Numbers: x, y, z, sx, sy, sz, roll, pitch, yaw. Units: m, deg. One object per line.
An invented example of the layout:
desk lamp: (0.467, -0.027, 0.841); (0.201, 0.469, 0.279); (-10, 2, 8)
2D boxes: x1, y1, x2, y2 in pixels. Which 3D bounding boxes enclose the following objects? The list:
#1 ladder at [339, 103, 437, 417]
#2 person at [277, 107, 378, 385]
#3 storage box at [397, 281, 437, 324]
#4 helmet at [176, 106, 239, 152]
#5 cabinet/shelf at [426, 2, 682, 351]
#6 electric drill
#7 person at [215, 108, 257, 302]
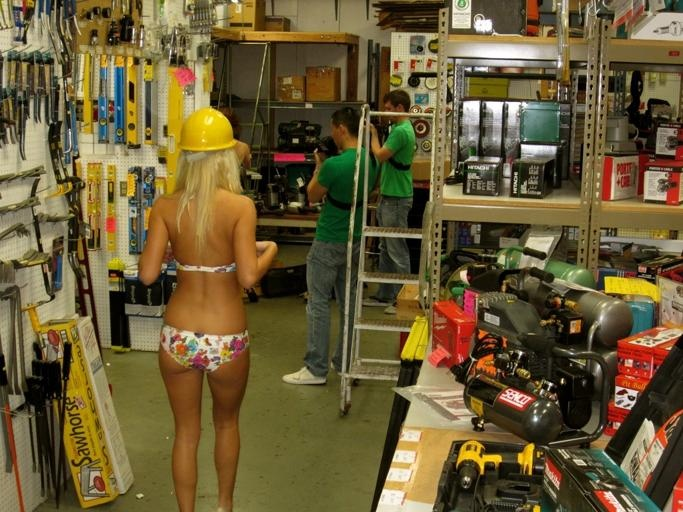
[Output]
ladder: (0.363, -0.085, 4.948); (0.728, 2.364, 1.236); (6, 12, 3)
person: (-0.078, -0.027, 4.827); (0.650, 2.207, 0.704); (2, 12, 5)
storage box: (0.537, 0.341, 4.835); (0.290, 0.188, 0.308); (1, 22, 6)
helmet: (-0.635, -0.593, 2.901); (0.243, 0.197, 0.176); (-5, 14, -24)
cabinet/shelf: (1.053, -0.449, 3.054); (1.184, 1.488, 0.813); (3, 12, 6)
electric drill: (0.441, 0.582, 1.751); (0.233, 0.064, 0.221); (2, 14, 2)
person: (-1.279, -0.526, 7.478); (0.677, 2.415, 0.708); (5, 14, -1)
